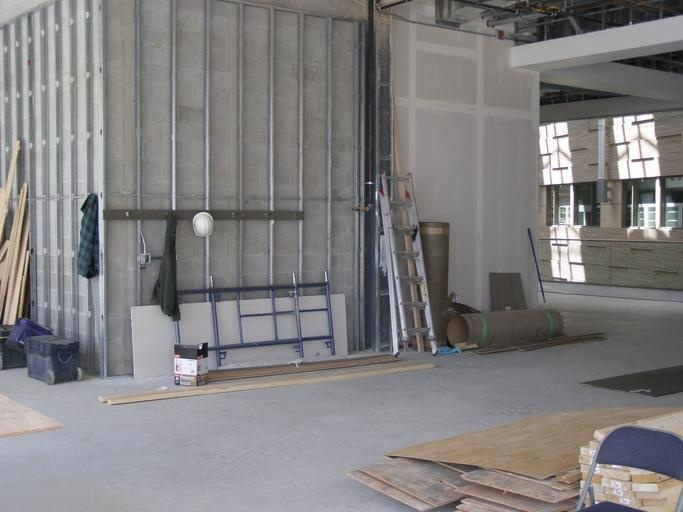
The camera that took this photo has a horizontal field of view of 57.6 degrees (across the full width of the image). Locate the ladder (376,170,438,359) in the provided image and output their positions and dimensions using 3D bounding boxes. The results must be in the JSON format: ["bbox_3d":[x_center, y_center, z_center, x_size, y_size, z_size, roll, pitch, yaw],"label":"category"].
[{"bbox_3d":[1.013,0.097,9.219,0.949,2.641,0.935,0,4,-10],"label":"ladder"}]

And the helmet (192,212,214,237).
[{"bbox_3d":[-1.799,-0.409,8.010,0.276,0.290,0.115,-10,12,-21],"label":"helmet"}]
